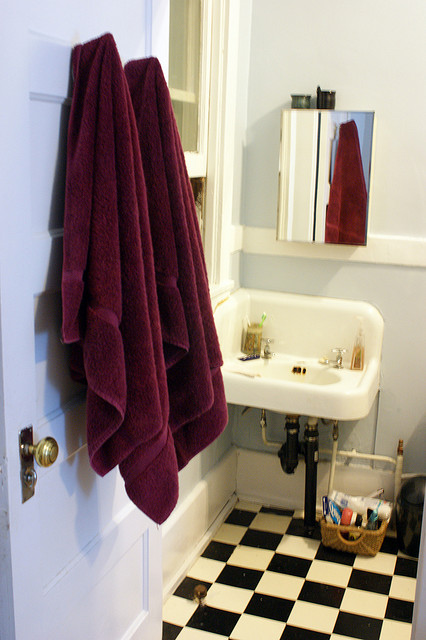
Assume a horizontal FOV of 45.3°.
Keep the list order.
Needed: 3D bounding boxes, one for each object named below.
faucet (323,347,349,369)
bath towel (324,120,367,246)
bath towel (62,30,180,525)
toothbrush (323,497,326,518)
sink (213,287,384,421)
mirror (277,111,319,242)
[{"bbox_3d":[0.497,0.134,2.015,0.070,0.118,0.067,2,3,18],"label":"faucet"},{"bbox_3d":[0.510,-0.522,1.946,0.149,0.031,0.627,-3,61,26],"label":"bath towel"},{"bbox_3d":[-0.134,-0.046,0.774,0.181,0.790,0.196,-2,7,-19],"label":"bath towel"},{"bbox_3d":[0.425,0.709,1.933,0.008,0.058,0.010,-2,1,-27],"label":"toothbrush"},{"bbox_3d":[0.310,0.091,1.899,0.622,0.320,0.679,6,11,24],"label":"sink"},{"bbox_3d":[0.332,-0.544,1.961,0.164,0.050,0.706,1,58,11],"label":"mirror"}]
